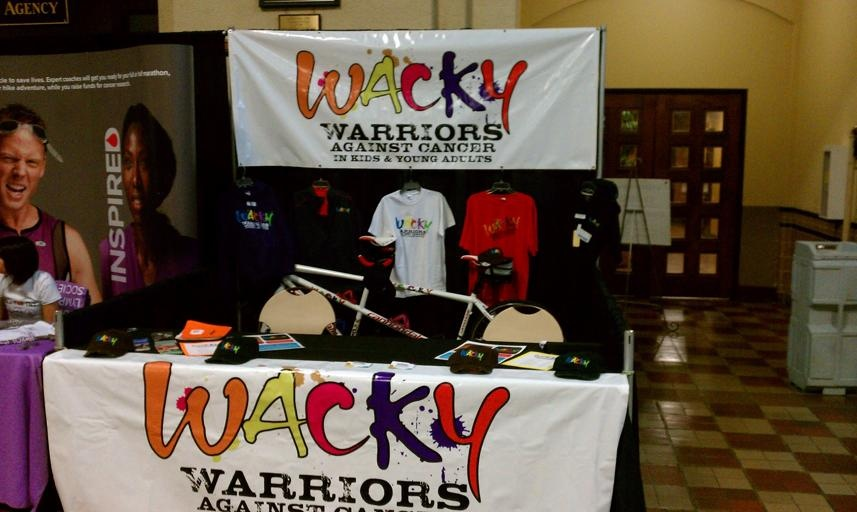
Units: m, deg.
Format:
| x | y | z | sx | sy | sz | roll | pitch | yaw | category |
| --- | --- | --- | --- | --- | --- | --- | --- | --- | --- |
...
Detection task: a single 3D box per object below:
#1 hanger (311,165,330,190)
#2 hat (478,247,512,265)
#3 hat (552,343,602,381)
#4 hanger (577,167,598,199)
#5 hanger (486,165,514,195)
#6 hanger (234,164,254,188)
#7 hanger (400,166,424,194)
| x | y | z | sx | sy | sz | roll | pitch | yaw | category |
| --- | --- | --- | --- | --- | --- | --- | --- | --- | --- |
| -1.012 | -0.729 | 8.300 | 0.133 | 0.077 | 0.236 | 1 | 40 | -1 | hanger |
| 0.586 | 0.011 | 7.915 | 0.290 | 0.155 | 0.114 | 0 | 4 | 10 | hat |
| 1.130 | 0.802 | 6.679 | 0.356 | 0.184 | 0.490 | 0 | 4 | 12 | hat |
| 1.510 | -0.649 | 8.386 | 0.157 | 0.208 | 0.375 | 0 | 4 | 10 | hanger |
| 0.641 | -0.692 | 8.118 | 0.209 | 0.190 | 0.092 | 3 | 13 | 10 | hanger |
| -1.729 | -0.725 | 8.173 | 0.250 | 0.190 | 0.072 | 9 | -13 | -26 | hanger |
| -0.167 | -0.697 | 8.143 | 0.226 | 0.272 | 0.022 | -2 | -30 | -3 | hanger |
